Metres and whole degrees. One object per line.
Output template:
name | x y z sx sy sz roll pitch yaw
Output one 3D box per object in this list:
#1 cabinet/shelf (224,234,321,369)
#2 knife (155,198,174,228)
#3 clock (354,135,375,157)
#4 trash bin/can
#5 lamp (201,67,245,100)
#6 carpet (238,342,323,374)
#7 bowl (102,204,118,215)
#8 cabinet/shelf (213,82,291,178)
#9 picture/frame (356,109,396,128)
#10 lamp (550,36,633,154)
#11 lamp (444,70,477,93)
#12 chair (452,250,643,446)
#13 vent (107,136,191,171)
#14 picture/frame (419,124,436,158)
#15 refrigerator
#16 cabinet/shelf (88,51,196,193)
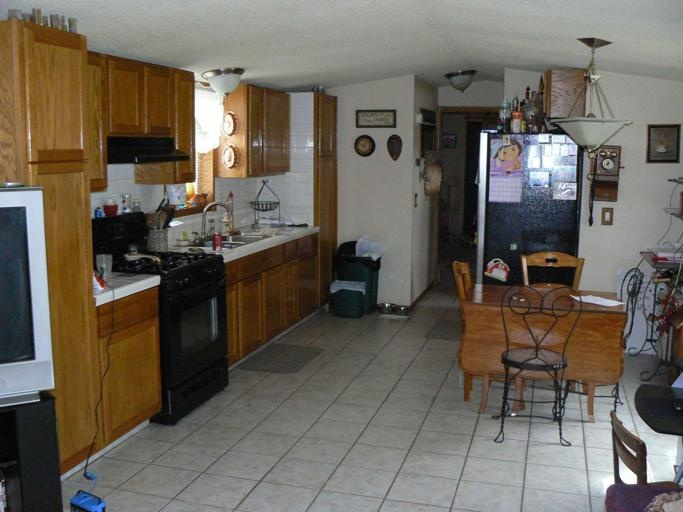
cabinet/shelf | -0.753 0.493 5.728 0.355 0.624 1.368 -1 7 18
knife | -1.582 -0.367 4.877 0.120 0.317 0.120 8 -2 -18
clock | 0.305 -1.452 7.158 0.276 0.262 0.063 -2 7 25
trash bin/can | 0.105 0.261 7.245 0.758 0.906 0.720 -5 22 -23
lamp | -1.093 -1.645 5.222 0.308 0.175 0.277 0 12 7
carpet | -0.606 1.050 5.622 0.639 0.019 0.846 3 11 17
bowl | -1.899 -0.384 4.479 0.096 0.069 0.085 -4 6 -38
cabinet/shelf | -0.987 -1.465 6.439 0.448 0.973 1.175 6 14 17
picture/frame | 0.461 -1.797 7.105 0.537 0.251 0.043 2 11 9
lamp | 1.797 -1.185 3.951 0.562 0.704 0.493 1 13 9
lamp | 1.587 -2.321 7.200 0.325 0.202 0.338 -4 15 -15
chair | 1.569 0.728 4.334 1.365 1.149 1.146 2 11 11
vent | -1.542 -0.867 4.368 0.286 0.223 0.864 2 11 13
picture/frame | 1.202 -1.620 7.633 0.277 0.548 0.591 1 7 15
refrigerator | 2.098 -0.614 6.184 1.223 1.829 1.199 -6 16 -7
cabinet/shelf | -1.618 -1.106 4.354 0.384 0.751 1.295 1 4 15
